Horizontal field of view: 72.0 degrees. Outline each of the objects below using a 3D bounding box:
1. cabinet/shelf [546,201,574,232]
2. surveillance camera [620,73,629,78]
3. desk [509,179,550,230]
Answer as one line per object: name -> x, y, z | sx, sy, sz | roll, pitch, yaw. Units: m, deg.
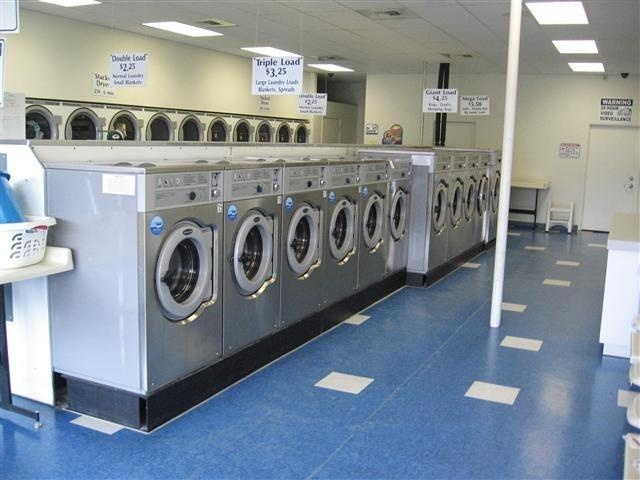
cabinet/shelf -> 5.745, -0.546, 10.502 | 0.631, 0.923, 0.805 | 2, 3, 24
surveillance camera -> 6.899, -3.704, 9.993 | 0.101, 0.075, 0.105 | 0, 2, -6
desk -> 4.953, -0.840, 10.522 | 0.827, 1.152, 0.987 | 7, 11, 27
